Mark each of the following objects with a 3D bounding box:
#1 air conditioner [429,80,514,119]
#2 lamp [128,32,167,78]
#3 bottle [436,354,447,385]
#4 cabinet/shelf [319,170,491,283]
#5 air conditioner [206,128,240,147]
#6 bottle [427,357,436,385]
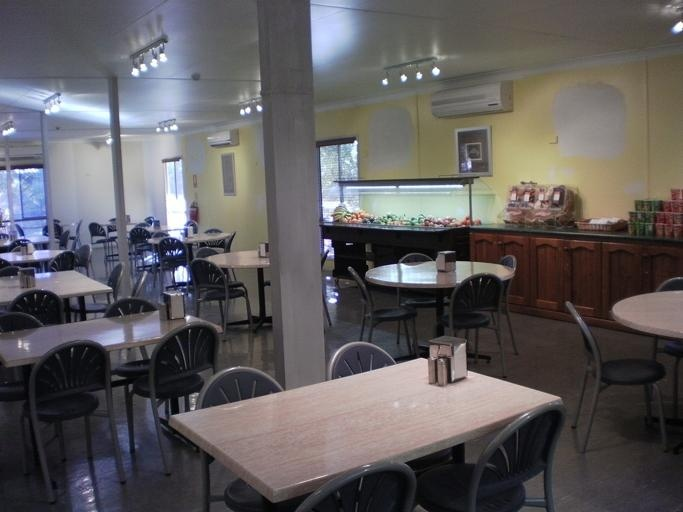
[{"bbox_3d":[1.836,-2.205,7.442,0.376,0.416,1.125,-19,19,-38],"label":"air conditioner"},{"bbox_3d":[-2.048,-2.159,5.670,0.477,0.202,0.106,-10,6,30],"label":"lamp"},{"bbox_3d":[0.499,0.566,2.599,0.049,0.137,0.042,-1,10,9],"label":"bottle"},{"bbox_3d":[0.854,-0.378,8.042,0.854,1.576,2.382,-8,10,-42],"label":"cabinet/shelf"},{"bbox_3d":[-2.749,-2.779,12.402,0.209,0.394,1.045,-11,13,-41],"label":"air conditioner"},{"bbox_3d":[0.453,0.569,2.621,0.044,0.124,0.052,0,10,12],"label":"bottle"}]
